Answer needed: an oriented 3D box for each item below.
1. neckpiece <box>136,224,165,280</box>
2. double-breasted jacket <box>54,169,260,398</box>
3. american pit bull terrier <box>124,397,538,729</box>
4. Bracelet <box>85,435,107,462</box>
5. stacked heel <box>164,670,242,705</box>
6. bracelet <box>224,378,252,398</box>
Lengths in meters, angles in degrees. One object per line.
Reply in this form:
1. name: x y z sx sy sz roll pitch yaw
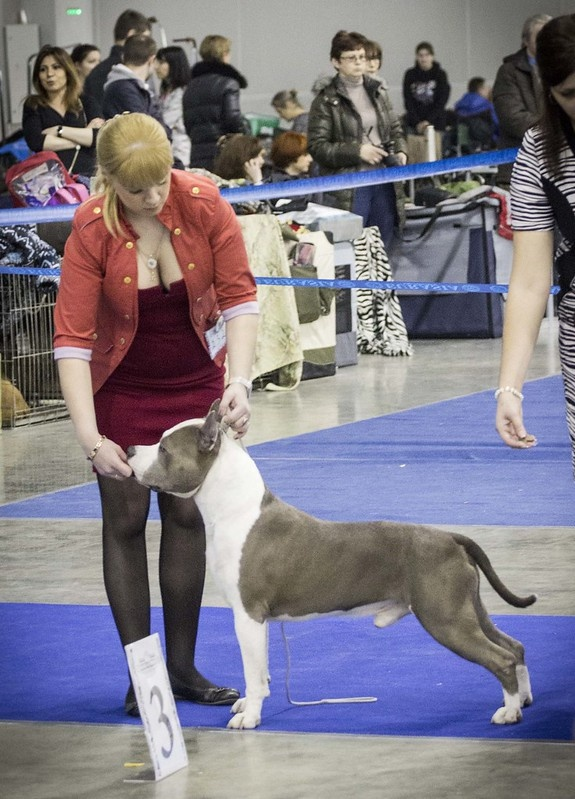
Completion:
1. neckpiece: -0.313 -0.334 1.962 0.112 0.105 0.043 -2 1 -17
2. double-breasted jacket: -0.323 -0.287 2.133 0.518 0.537 0.228 -6 11 -15
3. american pit bull terrier: 0.102 0.393 2.005 0.959 0.681 0.244 4 -2 -2
4. Bracelet: -0.438 0.109 1.964 0.013 0.049 0.053 35 -38 -16
5. stacked heel: -0.216 0.749 2.289 0.227 0.085 0.076 -2 -6 32
6. bracelet: -0.126 -0.034 2.116 0.048 0.042 0.061 8 -12 0
